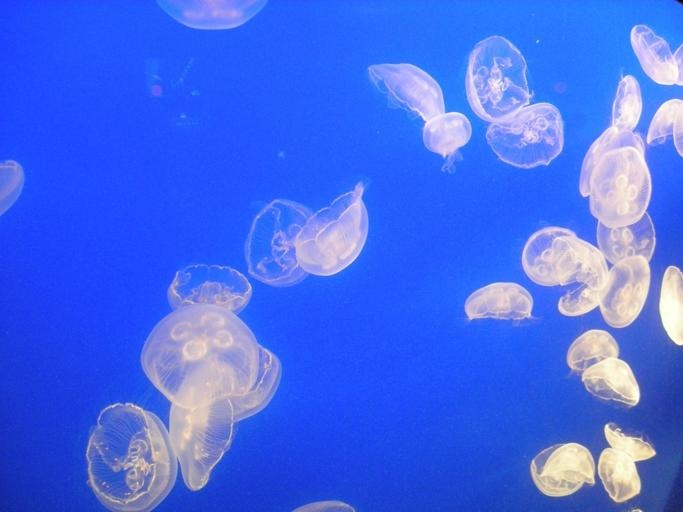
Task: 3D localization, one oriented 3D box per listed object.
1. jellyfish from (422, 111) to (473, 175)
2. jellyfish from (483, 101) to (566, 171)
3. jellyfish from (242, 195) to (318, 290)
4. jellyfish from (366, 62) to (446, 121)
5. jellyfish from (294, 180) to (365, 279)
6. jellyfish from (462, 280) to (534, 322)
[{"bbox_3d":[0.682,-0.765,5.108,0.298,0.332,0.331,2,-34,1],"label":"jellyfish"},{"bbox_3d":[1.206,-0.791,5.211,0.404,0.390,0.489,-8,-70,-18],"label":"jellyfish"},{"bbox_3d":[-0.423,-0.106,5.105,0.369,0.436,0.584,-4,-70,-5],"label":"jellyfish"},{"bbox_3d":[0.415,-1.096,5.070,0.514,0.124,0.281,38,-100,-13],"label":"jellyfish"},{"bbox_3d":[-0.050,-0.138,5.128,0.558,0.313,0.347,-23,-52,5],"label":"jellyfish"},{"bbox_3d":[1.021,0.309,5.137,0.432,0.163,0.187,-5,-52,-8],"label":"jellyfish"}]
